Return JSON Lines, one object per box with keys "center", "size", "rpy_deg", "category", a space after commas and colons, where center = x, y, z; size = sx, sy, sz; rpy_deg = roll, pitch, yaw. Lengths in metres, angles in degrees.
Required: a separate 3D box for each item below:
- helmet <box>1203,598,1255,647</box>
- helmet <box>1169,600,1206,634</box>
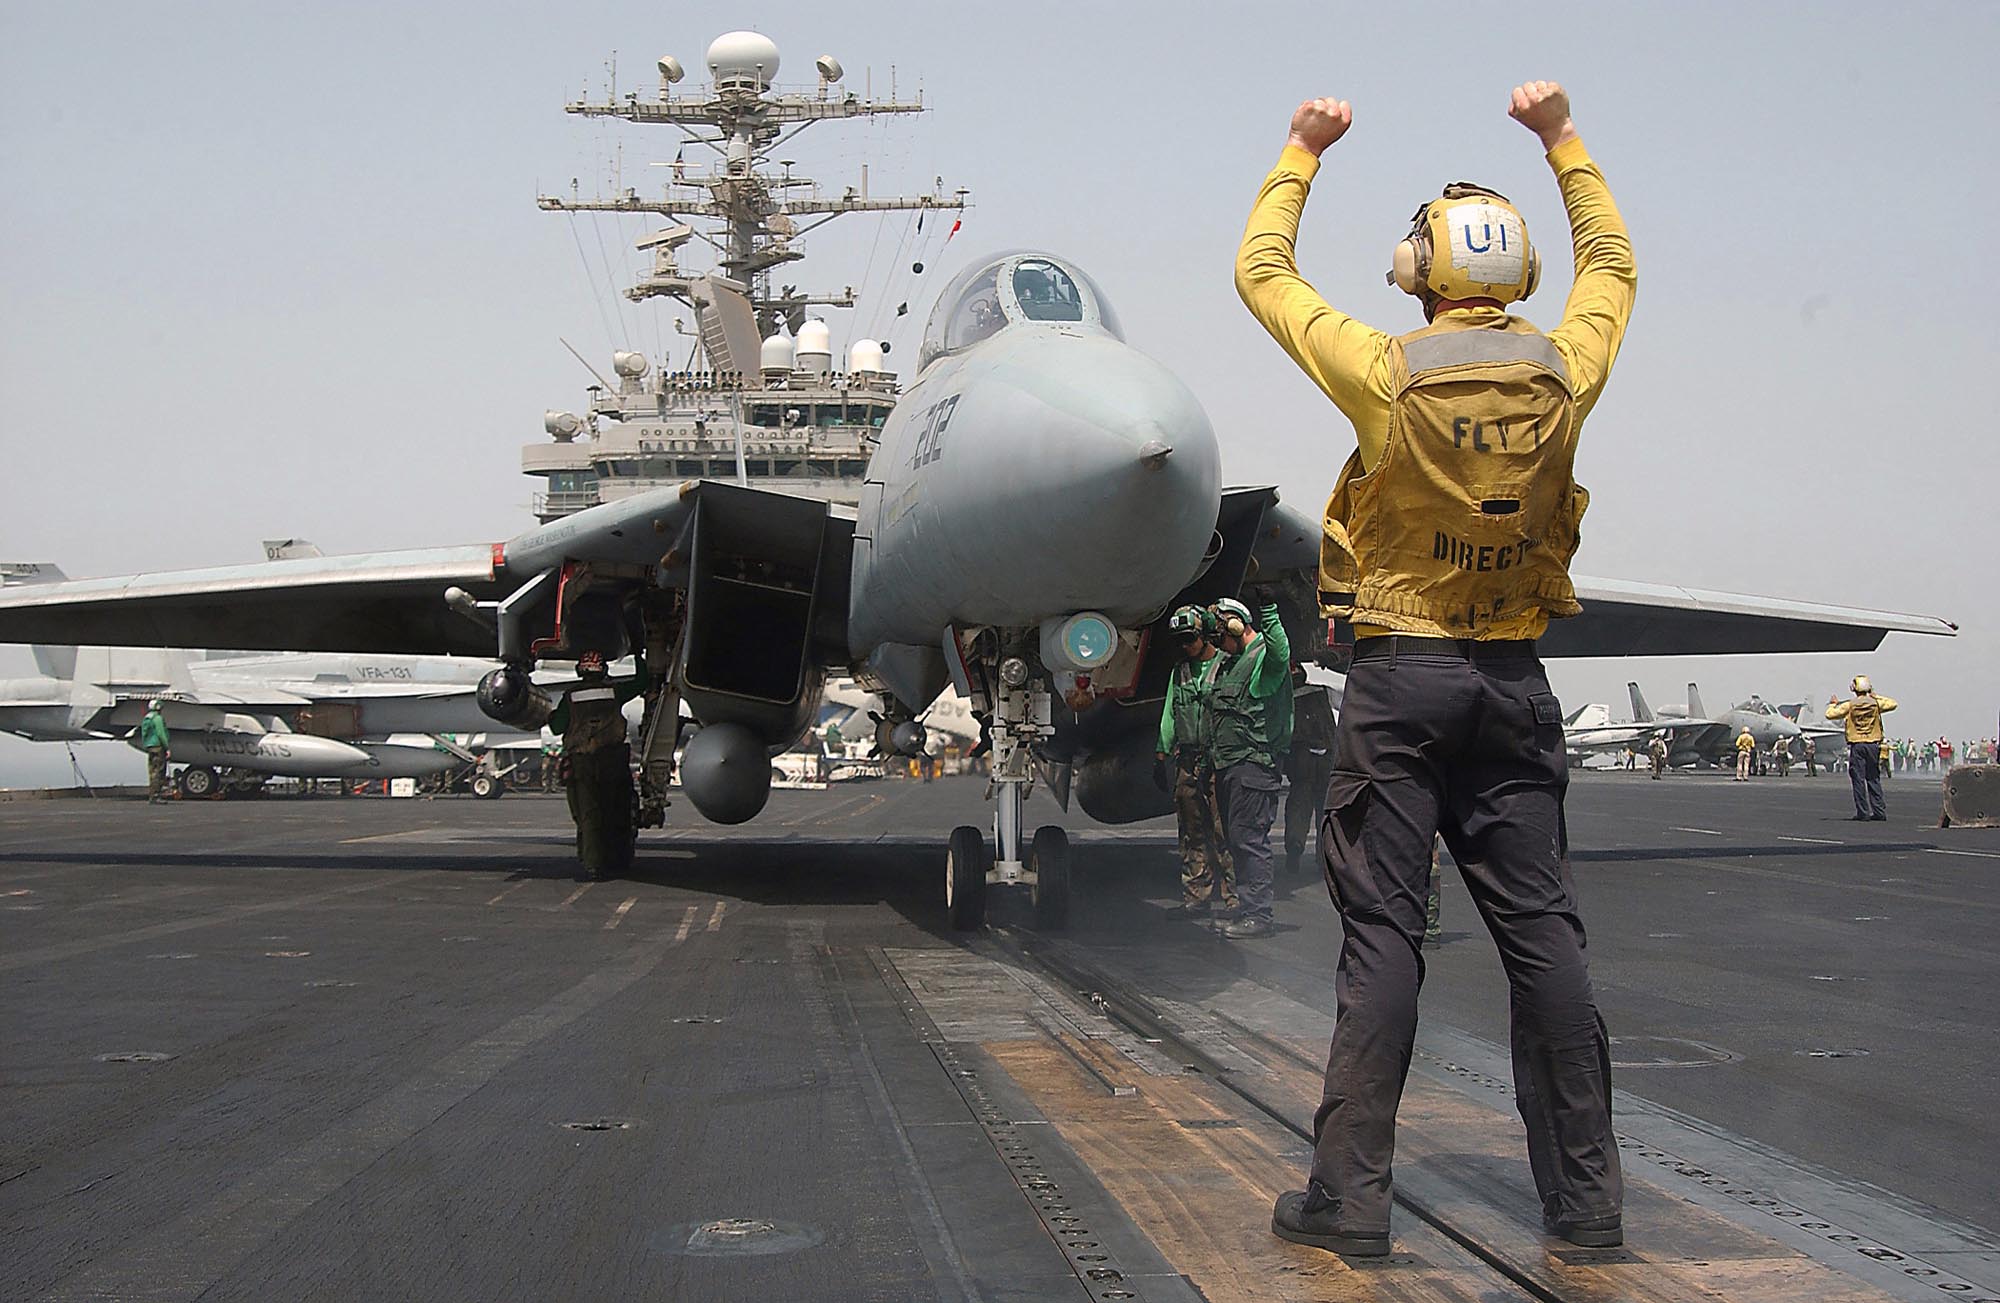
{"center": [1.721, -0.194, 11.616], "size": [0.348, 0.315, 0.358], "rpy_deg": [4, -25, 3], "category": "helmet"}
{"center": [1.373, -0.245, 11.408], "size": [0.208, 0.195, 0.370], "rpy_deg": [-2, -2, 43], "category": "helmet"}
